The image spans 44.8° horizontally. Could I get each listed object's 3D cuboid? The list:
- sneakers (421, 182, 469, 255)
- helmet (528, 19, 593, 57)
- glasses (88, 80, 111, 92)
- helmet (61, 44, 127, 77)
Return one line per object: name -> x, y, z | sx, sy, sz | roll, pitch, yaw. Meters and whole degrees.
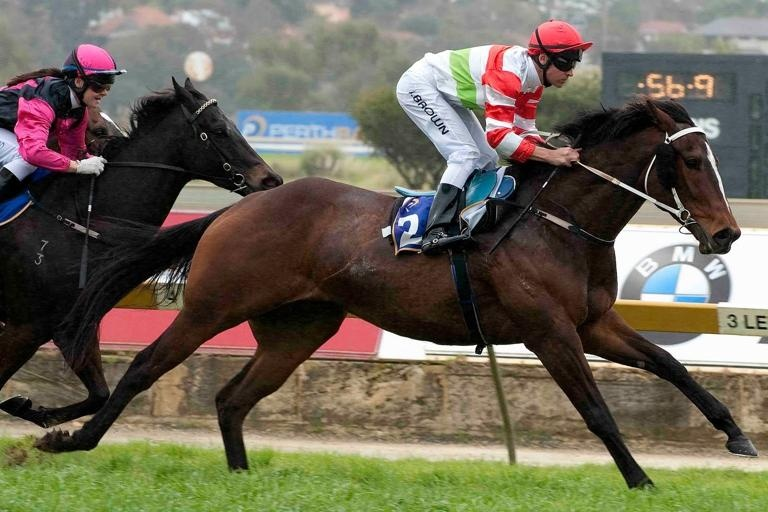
sneakers -> 0.384, -0.235, 5.622 | 0.269, 0.416, 0.208 | 4, 4, 1
helmet -> 1.037, -1.340, 5.723 | 0.436, 0.123, 0.250 | -4, 3, 16
glasses -> -1.867, -1.116, 6.116 | 0.130, 0.020, 0.102 | -4, -7, 22
helmet -> -1.914, -1.283, 6.148 | 0.479, 0.123, 0.238 | 0, 9, 3
